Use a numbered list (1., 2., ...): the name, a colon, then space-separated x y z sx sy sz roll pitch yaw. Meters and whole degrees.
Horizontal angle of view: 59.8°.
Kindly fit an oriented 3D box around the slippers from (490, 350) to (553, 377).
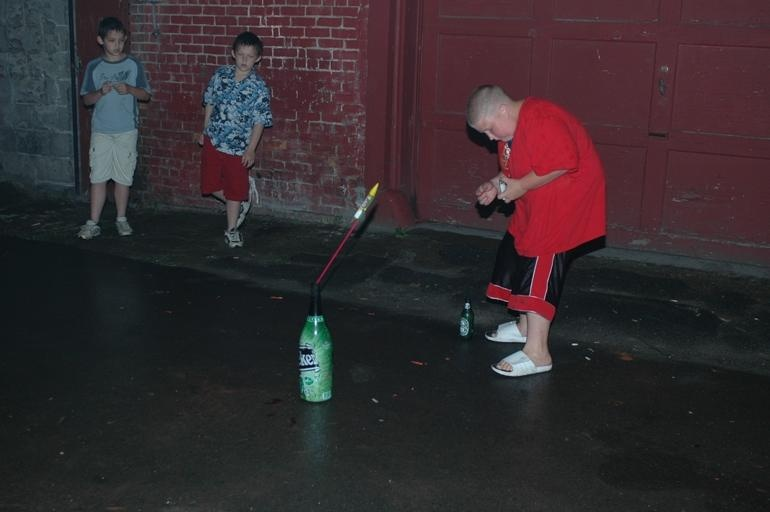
1. slippers: 1.089 0.848 5.294 0.390 0.134 0.189 -1 8 -10

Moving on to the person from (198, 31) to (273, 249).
1. person: -1.773 -1.327 7.805 0.787 2.421 0.350 10 14 19

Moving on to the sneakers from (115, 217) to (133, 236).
1. sneakers: -3.255 -0.367 8.332 0.155 0.102 0.286 -16 56 -23

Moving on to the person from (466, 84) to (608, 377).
1. person: 1.172 -0.175 5.312 1.040 2.172 0.689 11 15 22

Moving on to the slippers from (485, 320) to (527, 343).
1. slippers: 1.061 0.664 5.850 0.294 0.129 0.165 2 11 4

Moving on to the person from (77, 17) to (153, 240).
1. person: -3.295 -1.530 8.142 0.796 2.573 0.651 0 15 -23

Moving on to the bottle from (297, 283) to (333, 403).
1. bottle: -0.467 0.618 4.713 0.252 0.954 0.309 5 14 -4

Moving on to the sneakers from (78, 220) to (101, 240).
1. sneakers: -3.564 -0.338 8.168 0.213 0.219 0.364 12 16 22
